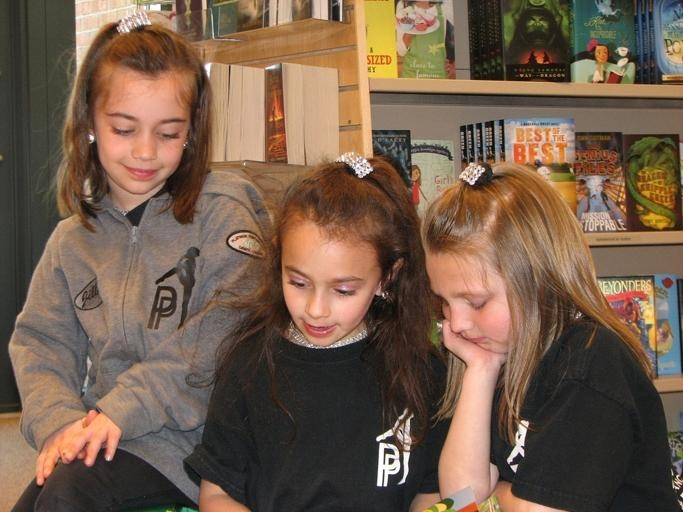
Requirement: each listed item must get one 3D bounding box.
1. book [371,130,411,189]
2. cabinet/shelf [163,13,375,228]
[{"bbox_3d":[0.195,-0.357,2.653,0.051,0.209,0.228,-2,0,41],"label":"book"},{"bbox_3d":[-0.383,-0.280,2.777,0.408,1.190,1.219,-2,2,-33],"label":"cabinet/shelf"}]
